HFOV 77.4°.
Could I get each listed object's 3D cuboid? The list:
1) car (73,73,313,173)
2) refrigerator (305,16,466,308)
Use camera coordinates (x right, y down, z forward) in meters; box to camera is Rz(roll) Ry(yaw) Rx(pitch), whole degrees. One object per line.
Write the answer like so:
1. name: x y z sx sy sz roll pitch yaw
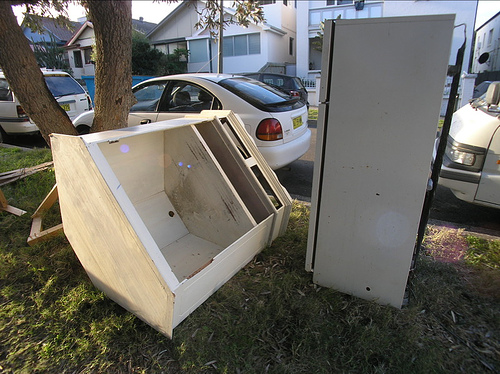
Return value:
1. car: -0.826 -1.348 5.385 3.680 1.316 1.721 17 29 16
2. refrigerator: 0.959 -0.154 2.497 0.954 2.133 0.776 14 32 30
